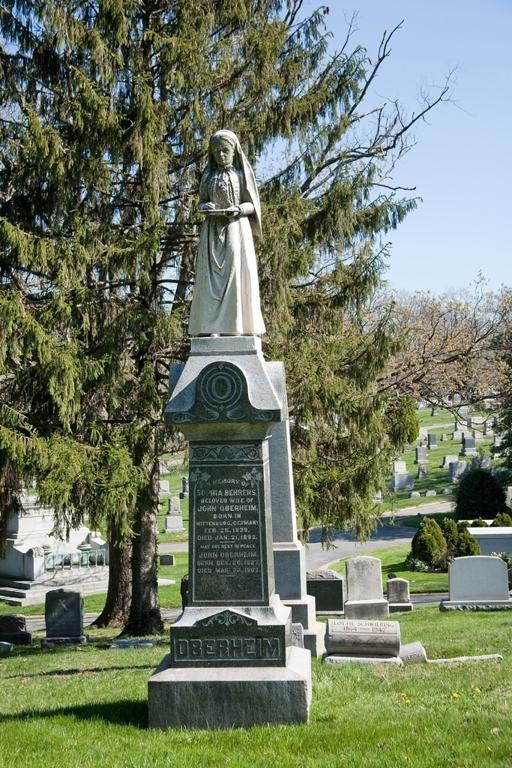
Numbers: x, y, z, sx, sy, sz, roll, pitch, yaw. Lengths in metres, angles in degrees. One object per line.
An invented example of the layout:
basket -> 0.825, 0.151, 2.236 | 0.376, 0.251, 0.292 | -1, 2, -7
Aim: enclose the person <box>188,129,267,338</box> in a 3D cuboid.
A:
person -> -0.260, -1.207, 7.828 | 0.602, 1.794, 0.457 | -1, -13, -1
